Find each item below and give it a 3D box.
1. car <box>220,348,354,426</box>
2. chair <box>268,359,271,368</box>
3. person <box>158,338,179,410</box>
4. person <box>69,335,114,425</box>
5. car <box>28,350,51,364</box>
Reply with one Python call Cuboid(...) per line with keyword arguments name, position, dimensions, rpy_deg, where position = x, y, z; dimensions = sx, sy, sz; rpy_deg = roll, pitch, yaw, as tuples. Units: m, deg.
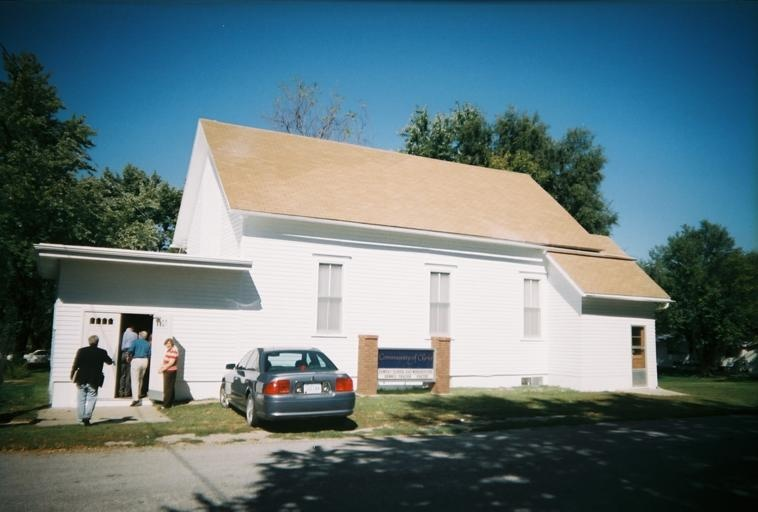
Cuboid(name="car", position=(-2.907, 3.863, 18.170), dimensions=(2.200, 1.828, 4.173), rpy_deg=(2, -2, -43))
Cuboid(name="chair", position=(-3.179, 3.094, 17.659), dimensions=(0.123, 0.224, 0.126), rpy_deg=(-12, -19, 35))
Cuboid(name="person", position=(-6.998, 3.843, 20.294), dimensions=(0.478, 2.113, 0.694), rpy_deg=(1, -1, -17))
Cuboid(name="person", position=(-8.435, 3.564, 17.774), dimensions=(0.955, 2.546, 0.735), rpy_deg=(1, -1, -21))
Cuboid(name="car", position=(-21.824, 6.497, 39.172), dimensions=(1.800, 0.667, 1.090), rpy_deg=(-8, -10, 44))
